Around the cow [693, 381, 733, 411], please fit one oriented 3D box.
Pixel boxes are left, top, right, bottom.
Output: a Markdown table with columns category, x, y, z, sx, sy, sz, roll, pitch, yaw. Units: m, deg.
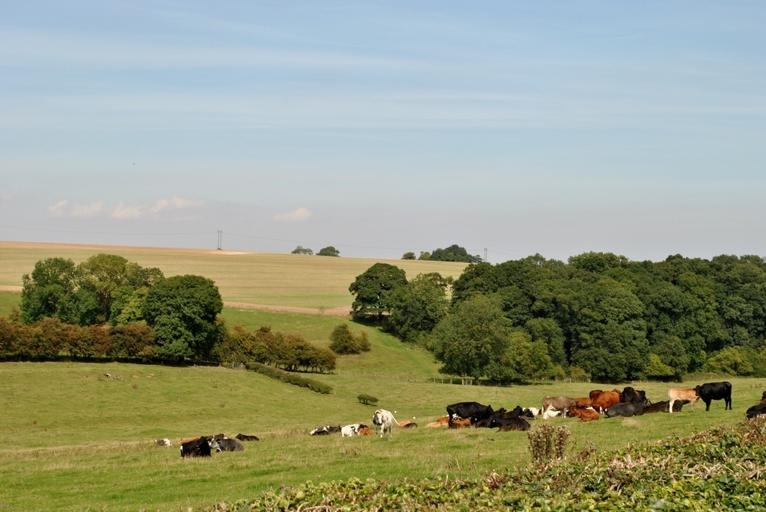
| category | x | y | z | sx | sy | sz | roll | pitch | yaw |
| --- | --- | --- | --- | --- | --- | --- | --- | --- | --- |
| cow | 32.594 | 13.665 | 137.406 | 3.480 | 2.696 | 4.301 | 1 | 9 | 8 |
